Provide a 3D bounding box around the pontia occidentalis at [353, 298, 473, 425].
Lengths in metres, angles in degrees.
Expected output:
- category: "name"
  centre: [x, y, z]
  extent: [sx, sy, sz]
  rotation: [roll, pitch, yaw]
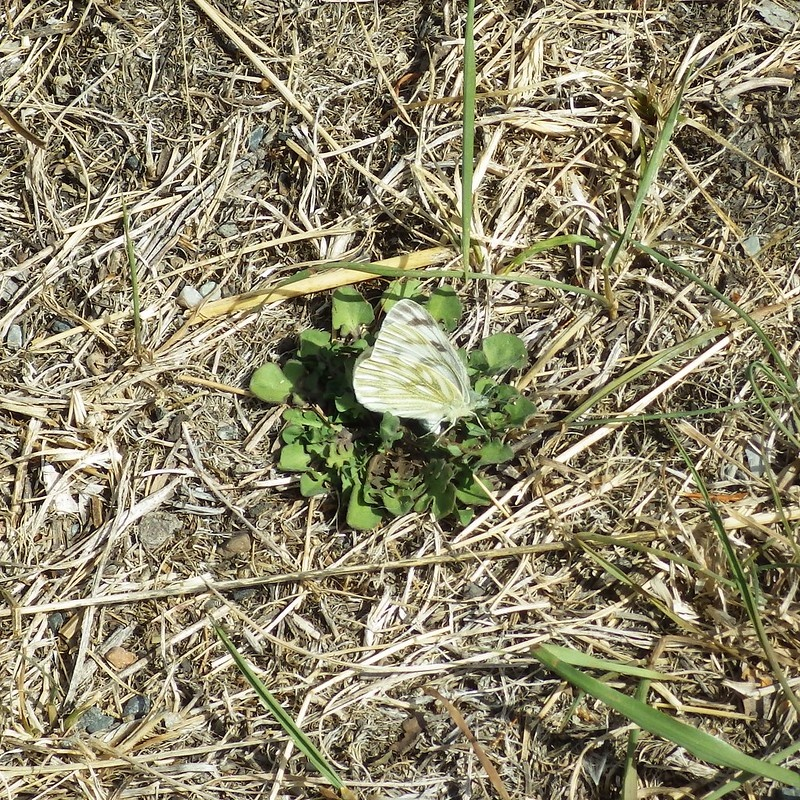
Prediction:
- category: "pontia occidentalis"
  centre: [0.015, -0.062, 1.970]
  extent: [0.368, 0.258, 0.262]
  rotation: [-1, 82, 23]
